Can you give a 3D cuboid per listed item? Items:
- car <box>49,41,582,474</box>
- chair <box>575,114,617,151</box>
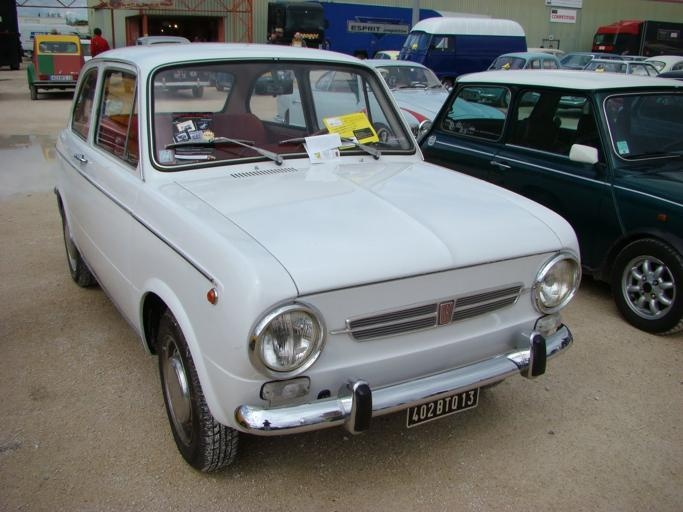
[{"bbox_3d":[-0.224,-0.155,2.759,2.023,2.199,2.790,-18,30,-38],"label":"car"},{"bbox_3d":[2.424,-1.208,4.283,0.274,0.401,0.323,6,11,25],"label":"chair"}]
